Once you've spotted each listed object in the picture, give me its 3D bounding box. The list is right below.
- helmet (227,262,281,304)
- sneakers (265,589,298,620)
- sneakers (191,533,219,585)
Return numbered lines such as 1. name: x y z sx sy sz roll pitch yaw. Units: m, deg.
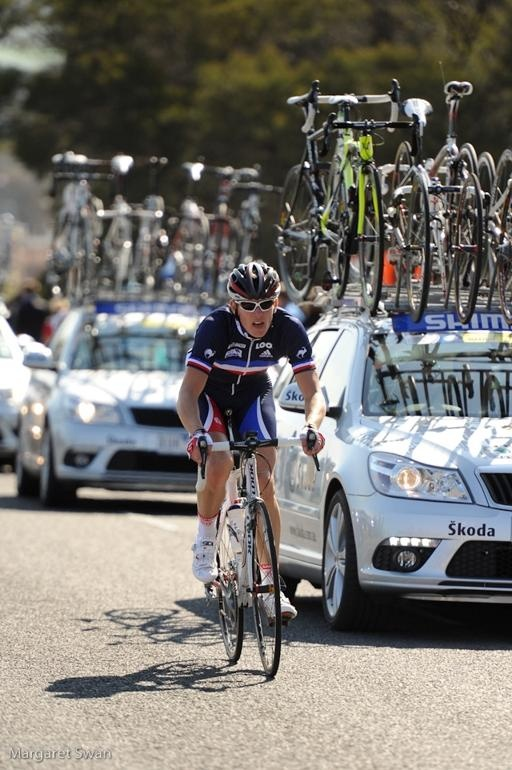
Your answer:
1. helmet: -0.010 -0.462 5.033 0.226 0.159 0.302 0 8 1
2. sneakers: 0.106 0.924 4.709 0.079 0.084 0.223 3 -12 -11
3. sneakers: -0.234 0.821 5.310 0.099 0.099 0.242 0 26 -11
